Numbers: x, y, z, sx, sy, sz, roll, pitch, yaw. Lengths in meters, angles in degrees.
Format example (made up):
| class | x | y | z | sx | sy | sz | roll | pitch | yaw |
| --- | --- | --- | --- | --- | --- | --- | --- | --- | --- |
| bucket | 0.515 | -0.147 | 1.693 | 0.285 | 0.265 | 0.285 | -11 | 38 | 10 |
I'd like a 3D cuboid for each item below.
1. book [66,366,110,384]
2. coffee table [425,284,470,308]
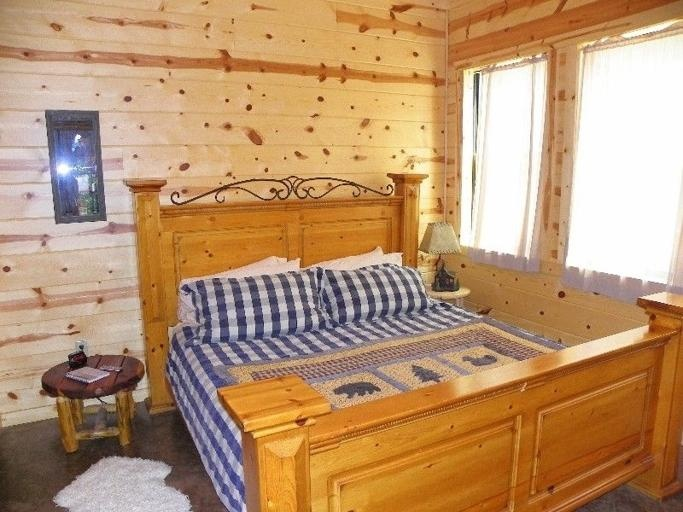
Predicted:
| class | x | y | z | sx | sy | sz | roll | pitch | yaw |
| --- | --- | --- | --- | --- | --- | --- | --- | --- | --- |
| book | -1.602 | 0.753 | 3.182 | 0.226 | 0.048 | 0.177 | 3 | 9 | 31 |
| coffee table | 0.932 | 0.391 | 4.380 | 0.285 | 0.231 | 0.241 | -9 | 23 | -15 |
